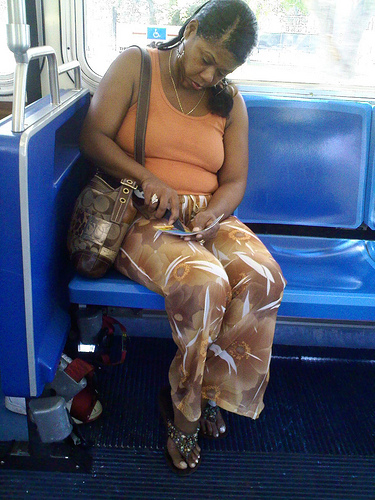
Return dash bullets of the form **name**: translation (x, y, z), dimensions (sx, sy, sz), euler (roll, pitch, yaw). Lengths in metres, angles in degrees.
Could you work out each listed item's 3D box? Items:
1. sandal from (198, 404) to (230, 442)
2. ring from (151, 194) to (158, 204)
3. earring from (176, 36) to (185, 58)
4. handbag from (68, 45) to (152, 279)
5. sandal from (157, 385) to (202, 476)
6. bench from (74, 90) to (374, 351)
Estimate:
- **sandal**: translation (0.094, 0.601, 1.491), dimensions (0.097, 0.065, 0.231), euler (-11, 7, -8)
- **ring**: translation (-0.098, -0.154, 1.235), dimensions (0.018, 0.023, 0.011), euler (-12, 37, -26)
- **earring**: translation (-0.024, -0.646, 1.321), dimensions (0.020, 0.074, 0.055), euler (11, 16, 18)
- **handbag**: translation (-0.198, -0.254, 1.303), dimensions (0.186, 0.721, 0.211), euler (14, 5, -26)
- **sandal**: translation (-0.028, 0.571, 1.348), dimensions (0.115, 0.071, 0.316), euler (13, 28, -20)
- **bench**: translation (0.148, -0.150, 1.473), dimensions (1.107, 0.720, 0.549), euler (3, 26, 0)
